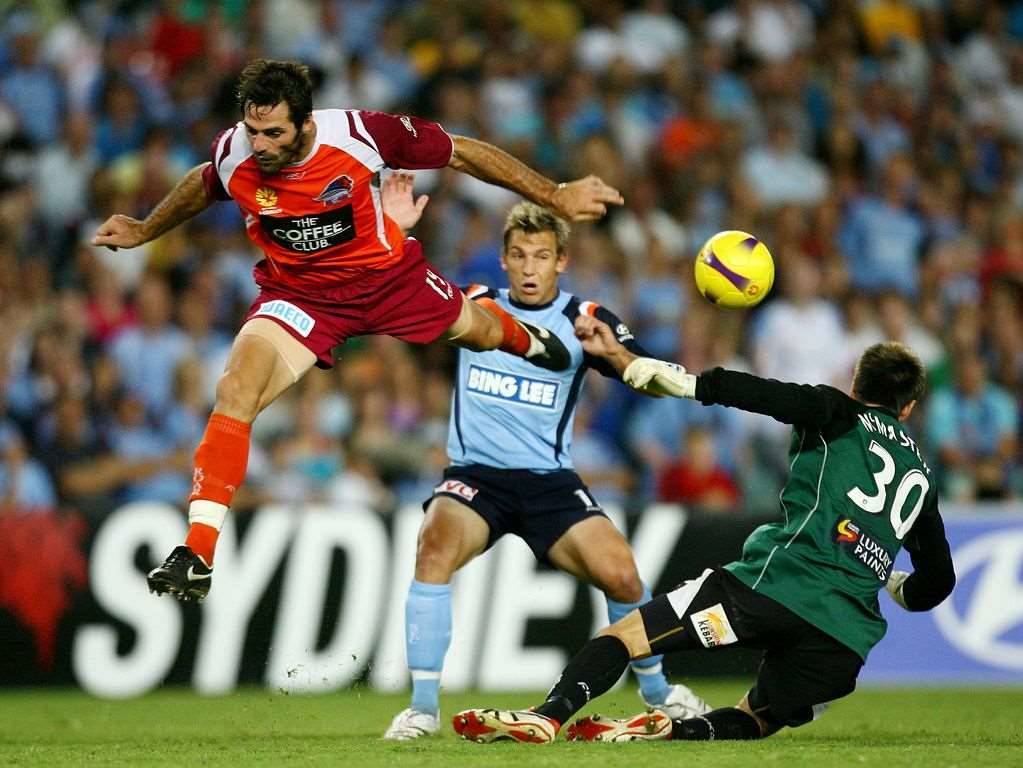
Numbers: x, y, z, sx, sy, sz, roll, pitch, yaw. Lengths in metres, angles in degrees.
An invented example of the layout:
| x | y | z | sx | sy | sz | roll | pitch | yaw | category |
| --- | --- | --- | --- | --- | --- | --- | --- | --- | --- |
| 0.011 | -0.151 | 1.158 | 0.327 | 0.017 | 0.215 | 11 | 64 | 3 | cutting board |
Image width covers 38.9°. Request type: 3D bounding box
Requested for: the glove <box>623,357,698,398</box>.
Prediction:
| x | y | z | sx | sy | sz | roll | pitch | yaw | category |
| --- | --- | --- | --- | --- | --- | --- | --- | --- | --- |
| 0.967 | -0.080 | 9.266 | 0.298 | 0.145 | 0.255 | 12 | 10 | 38 | glove |

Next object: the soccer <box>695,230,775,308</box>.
| x | y | z | sx | sy | sz | roll | pitch | yaw | category |
| --- | --- | --- | --- | --- | --- | --- | --- | --- | --- |
| 1.520 | -0.738 | 10.102 | 0.466 | 0.546 | 0.481 | -8 | 20 | -34 | soccer |
